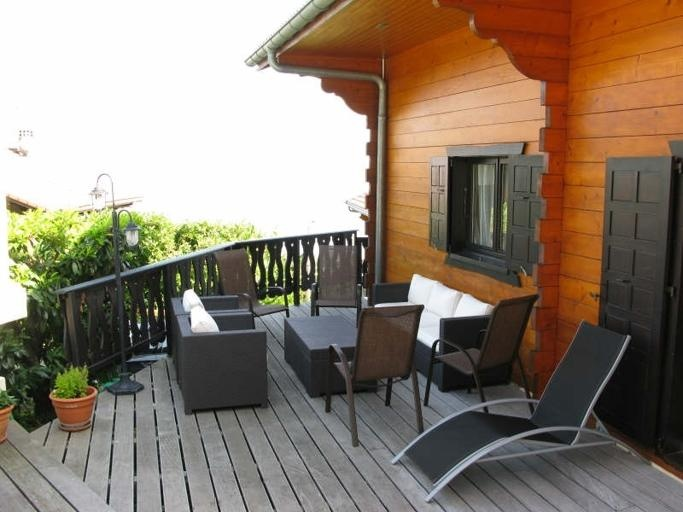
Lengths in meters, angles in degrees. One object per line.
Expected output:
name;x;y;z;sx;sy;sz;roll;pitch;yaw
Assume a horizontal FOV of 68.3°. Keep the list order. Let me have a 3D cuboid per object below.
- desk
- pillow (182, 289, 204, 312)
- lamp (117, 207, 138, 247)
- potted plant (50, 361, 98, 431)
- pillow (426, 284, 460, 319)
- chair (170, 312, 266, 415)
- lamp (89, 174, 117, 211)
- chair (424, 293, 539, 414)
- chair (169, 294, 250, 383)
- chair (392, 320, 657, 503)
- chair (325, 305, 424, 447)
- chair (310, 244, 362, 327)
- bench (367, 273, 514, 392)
desk;-0.152;1.036;5.712;0.673;0.554;1.226;-4;18;-17
pillow;-1.703;0.509;5.767;0.196;0.323;0.356;-4;-2;-22
lamp;-2.321;-0.301;5.483;0.281;0.415;0.190;-3;1;-17
potted plant;-2.568;1.379;4.812;0.392;0.532;0.388;1;-1;-28
pillow;1.317;0.595;6.491;0.138;0.281;0.382;3;6;-19
chair;-1.276;0.793;5.268;0.681;0.723;1.387;-3;9;-14
lamp;-2.564;-0.693;5.436;0.254;0.408;0.225;3;10;10
chair;1.397;0.989;5.153;0.869;1.244;1.017;-2;5;-19
chair;-1.332;0.599;5.322;0.670;0.897;1.354;-4;10;-16
chair;1.468;1.341;4.595;2.467;1.500;0.993;-9;13;-15
chair;0.333;1.076;4.987;0.835;1.315;0.943;-3;6;-26
chair;-0.096;0.468;7.823;0.792;1.229;0.917;2;10;11
bench;1.168;0.877;6.513;0.838;0.992;1.954;1;11;-20
